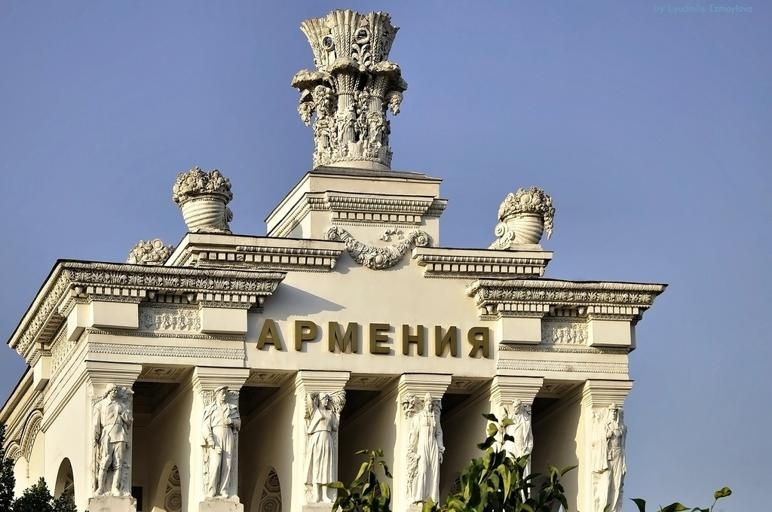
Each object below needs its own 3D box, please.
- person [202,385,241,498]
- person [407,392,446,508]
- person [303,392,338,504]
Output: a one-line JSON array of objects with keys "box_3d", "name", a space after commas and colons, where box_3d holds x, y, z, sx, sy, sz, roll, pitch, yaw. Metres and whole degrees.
[{"box_3d": [-5.366, 6.232, 79.212, 1.404, 3.582, 0.808, 0, -5, -20], "name": "person"}, {"box_3d": [1.337, 6.685, 80.609, 1.107, 3.616, 1.187, -7, -29, 19], "name": "person"}, {"box_3d": [-2.129, 6.538, 79.836, 1.114, 3.611, 0.965, 4, -27, -2], "name": "person"}]
